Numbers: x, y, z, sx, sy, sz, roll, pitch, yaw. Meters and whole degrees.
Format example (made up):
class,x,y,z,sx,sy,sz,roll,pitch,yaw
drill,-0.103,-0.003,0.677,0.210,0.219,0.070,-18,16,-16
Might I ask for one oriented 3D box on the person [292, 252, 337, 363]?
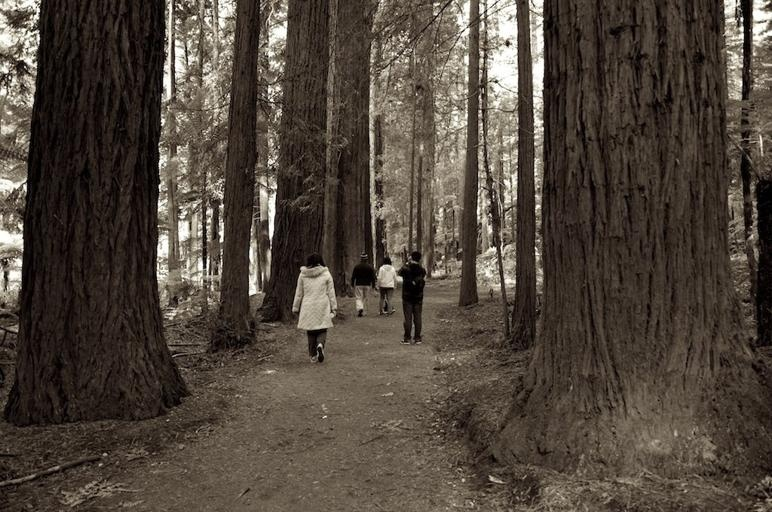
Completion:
class,x,y,z,sx,sy,sz,roll,pitch,yaw
person,-1.421,1.058,15.372,0.823,2.138,0.886,-3,11,-7

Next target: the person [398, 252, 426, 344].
class,x,y,z,sx,sy,sz,roll,pitch,yaw
person,0.586,0.927,17.383,0.539,2.167,1.595,-2,11,1

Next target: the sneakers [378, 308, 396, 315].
class,x,y,z,sx,sy,sz,roll,pitch,yaw
sneakers,0.028,1.551,21.281,0.147,0.209,0.440,4,-13,-36

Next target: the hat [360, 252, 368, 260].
class,x,y,z,sx,sy,sz,roll,pitch,yaw
hat,-0.675,0.004,22.842,0.210,0.136,0.318,-1,3,-3
